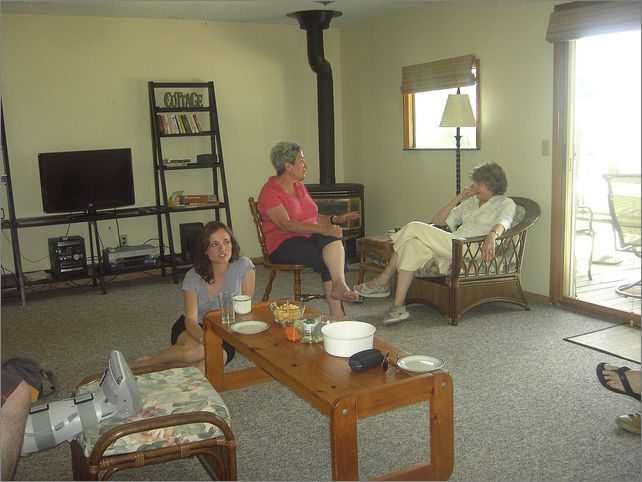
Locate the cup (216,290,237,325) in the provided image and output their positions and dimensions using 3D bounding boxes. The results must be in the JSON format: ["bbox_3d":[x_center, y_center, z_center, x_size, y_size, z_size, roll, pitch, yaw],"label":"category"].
[{"bbox_3d":[-0.484,0.346,2.702,0.126,0.161,0.098,8,13,44],"label":"cup"}]

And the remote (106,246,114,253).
[{"bbox_3d":[-2.164,0.090,5.431,0.082,0.023,0.077,-6,19,-42],"label":"remote"}]

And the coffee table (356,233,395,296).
[{"bbox_3d":[0.498,0.235,4.985,0.406,0.429,0.389,1,-11,20],"label":"coffee table"}]

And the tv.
[{"bbox_3d":[-2.346,-0.613,5.303,0.840,0.570,0.175,-12,16,-35],"label":"tv"}]

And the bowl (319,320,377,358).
[{"bbox_3d":[0.123,0.425,2.306,0.163,0.063,0.163,-2,13,0],"label":"bowl"}]

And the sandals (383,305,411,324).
[{"bbox_3d":[0.598,0.579,4.127,0.102,0.110,0.229,-5,-2,43],"label":"sandals"}]

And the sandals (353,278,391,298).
[{"bbox_3d":[0.430,0.401,4.467,0.288,0.152,0.139,2,8,-1],"label":"sandals"}]

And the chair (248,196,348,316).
[{"bbox_3d":[-0.306,0.013,4.444,0.706,0.907,0.664,-1,18,29],"label":"chair"}]

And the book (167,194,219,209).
[{"bbox_3d":[-1.363,-0.439,5.703,0.548,0.156,0.206,-7,14,-18],"label":"book"}]

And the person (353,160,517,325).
[{"bbox_3d":[1.020,-0.031,4.350,1.229,1.335,0.743,2,8,-18],"label":"person"}]

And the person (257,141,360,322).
[{"bbox_3d":[-0.044,-0.088,3.975,0.597,1.290,1.081,-9,15,-28],"label":"person"}]

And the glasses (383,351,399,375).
[{"bbox_3d":[0.279,0.504,2.171,0.077,0.082,0.047,17,-16,-3],"label":"glasses"}]

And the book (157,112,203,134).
[{"bbox_3d":[-1.526,-1.273,5.711,0.448,0.224,0.298,-6,14,-15],"label":"book"}]

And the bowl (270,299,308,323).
[{"bbox_3d":[-0.146,0.326,2.618,0.122,0.057,0.120,0,9,0],"label":"bowl"}]

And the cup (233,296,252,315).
[{"bbox_3d":[-0.418,0.331,2.785,0.073,0.069,0.099,11,18,37],"label":"cup"}]
